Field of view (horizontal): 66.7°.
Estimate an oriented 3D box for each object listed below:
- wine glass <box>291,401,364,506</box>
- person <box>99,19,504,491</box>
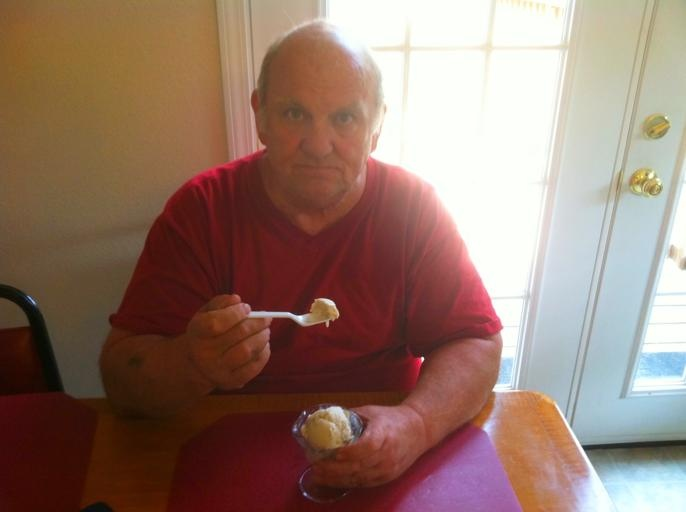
[{"bbox_3d":[-0.031,0.532,1.398,0.190,0.205,0.219,1,38,0],"label":"wine glass"},{"bbox_3d":[-0.157,-0.027,1.663,1.029,1.489,0.857,-3,36,-8],"label":"person"}]
